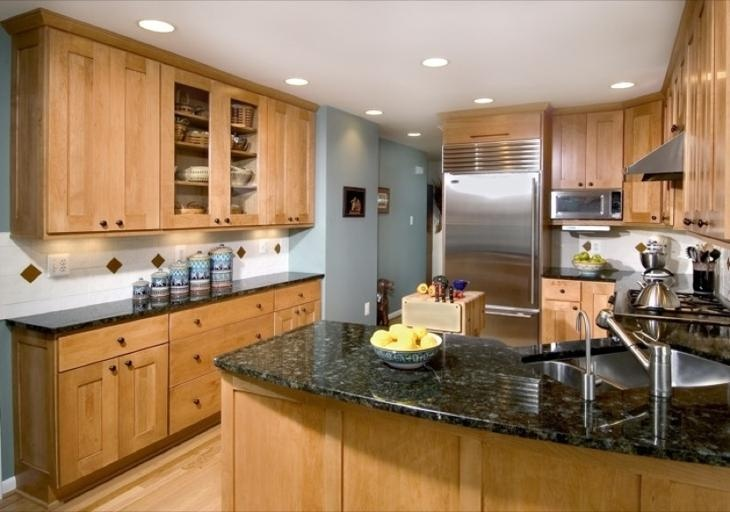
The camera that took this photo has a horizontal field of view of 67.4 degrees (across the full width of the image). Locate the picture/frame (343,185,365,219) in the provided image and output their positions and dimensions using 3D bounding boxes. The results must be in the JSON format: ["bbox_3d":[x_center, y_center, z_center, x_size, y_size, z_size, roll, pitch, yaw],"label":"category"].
[{"bbox_3d":[-0.124,-0.577,5.763,0.044,0.320,0.427,4,4,36],"label":"picture/frame"}]

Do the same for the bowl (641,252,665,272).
[{"bbox_3d":[2.674,0.047,5.078,0.264,0.178,0.233,-1,-3,43],"label":"bowl"}]

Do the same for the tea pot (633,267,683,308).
[{"bbox_3d":[2.148,0.210,4.132,0.407,0.359,0.381,1,0,0],"label":"tea pot"}]

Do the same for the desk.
[{"bbox_3d":[0.692,0.524,4.613,0.712,0.339,0.440,-1,11,-6],"label":"desk"}]

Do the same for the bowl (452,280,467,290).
[{"bbox_3d":[0.817,0.244,4.706,0.094,0.056,0.109,-3,-1,23],"label":"bowl"}]

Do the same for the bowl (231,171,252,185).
[{"bbox_3d":[-1.053,-0.666,4.622,0.162,0.061,0.147,-1,-3,-8],"label":"bowl"}]

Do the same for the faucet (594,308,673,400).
[{"bbox_3d":[1.222,0.437,2.489,0.346,0.330,0.202,8,13,32],"label":"faucet"}]

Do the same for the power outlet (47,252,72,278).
[{"bbox_3d":[-2.104,0.058,3.748,0.026,0.211,0.208,0,1,38],"label":"power outlet"}]

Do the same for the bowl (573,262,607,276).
[{"bbox_3d":[2.298,0.126,5.469,0.289,0.127,0.261,-1,11,-9],"label":"bowl"}]

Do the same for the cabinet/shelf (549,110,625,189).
[{"bbox_3d":[2.248,-1.085,5.458,0.875,0.847,0.499,3,5,37],"label":"cabinet/shelf"}]
